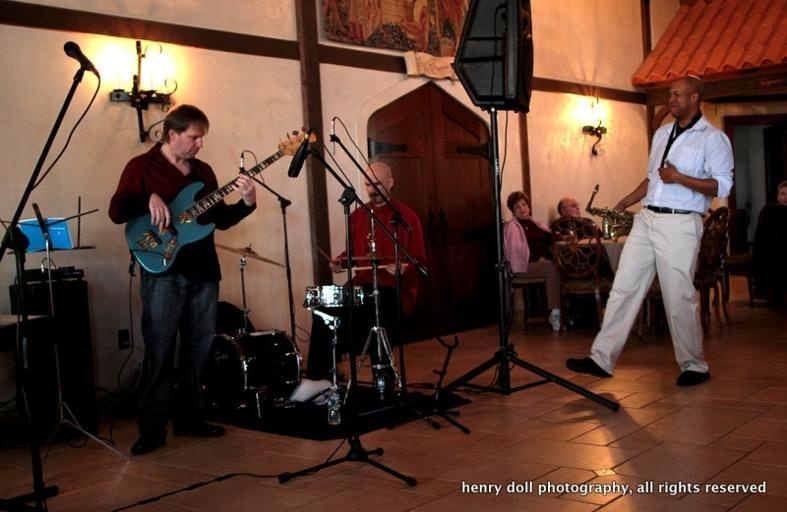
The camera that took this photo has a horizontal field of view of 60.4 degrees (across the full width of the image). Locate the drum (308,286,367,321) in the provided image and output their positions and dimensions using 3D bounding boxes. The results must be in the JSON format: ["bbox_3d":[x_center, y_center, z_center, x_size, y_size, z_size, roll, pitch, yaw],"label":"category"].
[{"bbox_3d":[-0.437,0.305,5.010,0.408,0.154,0.439,-4,-4,0],"label":"drum"}]

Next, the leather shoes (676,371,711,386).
[{"bbox_3d":[2.411,0.986,5.427,0.257,0.104,0.107,-7,8,-17],"label":"leather shoes"}]

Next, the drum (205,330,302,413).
[{"bbox_3d":[-1.135,0.891,5.430,0.648,0.592,0.525,2,0,-44],"label":"drum"}]

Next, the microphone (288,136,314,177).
[{"bbox_3d":[-0.592,-0.634,4.315,0.157,0.255,0.330,-3,5,-9],"label":"microphone"}]

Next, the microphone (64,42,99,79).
[{"bbox_3d":[-1.795,-1.114,3.884,0.288,0.091,0.103,44,45,19],"label":"microphone"}]

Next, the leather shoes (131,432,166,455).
[{"bbox_3d":[-1.702,1.308,4.746,0.122,0.126,0.269,2,7,41],"label":"leather shoes"}]

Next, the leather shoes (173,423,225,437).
[{"bbox_3d":[-1.437,1.287,5.028,0.361,0.140,0.131,-1,-5,4],"label":"leather shoes"}]

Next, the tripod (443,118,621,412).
[{"bbox_3d":[0.998,-0.003,5.413,1.209,2.268,1.281,-2,5,4],"label":"tripod"}]

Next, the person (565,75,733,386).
[{"bbox_3d":[2.050,-0.195,5.518,1.269,2.407,0.884,1,5,4],"label":"person"}]

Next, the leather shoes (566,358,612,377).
[{"bbox_3d":[1.596,0.907,5.475,0.335,0.138,0.124,18,16,19],"label":"leather shoes"}]

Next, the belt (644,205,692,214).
[{"bbox_3d":[2.179,-0.366,5.378,0.347,0.072,0.085,2,7,41],"label":"belt"}]

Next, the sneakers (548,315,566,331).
[{"bbox_3d":[1.877,0.762,7.753,0.131,0.180,0.172,1,46,11],"label":"sneakers"}]

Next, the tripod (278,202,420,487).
[{"bbox_3d":[-0.309,0.485,4.502,0.855,1.687,1.257,-2,5,1],"label":"tripod"}]

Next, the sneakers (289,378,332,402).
[{"bbox_3d":[-0.654,1.046,5.229,0.282,0.139,0.277,-7,-6,-3],"label":"sneakers"}]

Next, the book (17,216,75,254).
[{"bbox_3d":[-2.603,-0.166,5.106,0.333,0.297,0.062,6,25,-20],"label":"book"}]
